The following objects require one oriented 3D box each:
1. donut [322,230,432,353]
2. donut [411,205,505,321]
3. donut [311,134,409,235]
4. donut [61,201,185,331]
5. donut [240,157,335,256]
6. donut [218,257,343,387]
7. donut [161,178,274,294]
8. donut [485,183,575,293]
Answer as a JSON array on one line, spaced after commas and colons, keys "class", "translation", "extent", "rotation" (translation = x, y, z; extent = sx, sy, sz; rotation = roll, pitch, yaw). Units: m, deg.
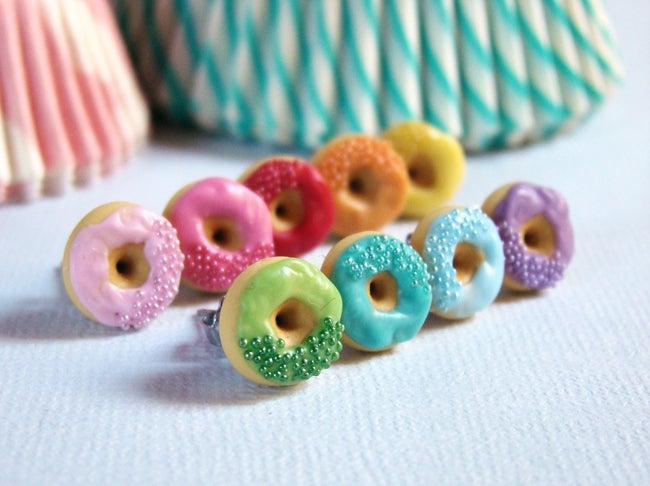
[{"class": "donut", "translation": [0.075, 0.062, 1.133], "extent": [0.144, 0.063, 0.180], "rotation": [14, 84, -26]}, {"class": "donut", "translation": [0.198, 0.025, 1.206], "extent": [0.136, 0.057, 0.177], "rotation": [-10, 91, -28]}, {"class": "donut", "translation": [0.067, -0.105, 1.361], "extent": [0.151, 0.060, 0.184], "rotation": [-16, 103, -17]}, {"class": "donut", "translation": [-0.303, 0.017, 1.167], "extent": [0.169, 0.083, 0.218], "rotation": [-16, 127, -17]}, {"class": "donut", "translation": [-0.056, -0.070, 1.308], "extent": [0.142, 0.057, 0.175], "rotation": [10, 92, -22]}, {"class": "donut", "translation": [-0.052, 0.119, 1.099], "extent": [0.164, 0.077, 0.201], "rotation": [2, 66, -12]}, {"class": "donut", "translation": [-0.158, -0.036, 1.267], "extent": [0.189, 0.199, 0.079], "rotation": [12, 42, -34]}, {"class": "donut", "translation": [0.327, -0.016, 1.278], "extent": [0.131, 0.061, 0.185], "rotation": [-2, 85, -23]}]
